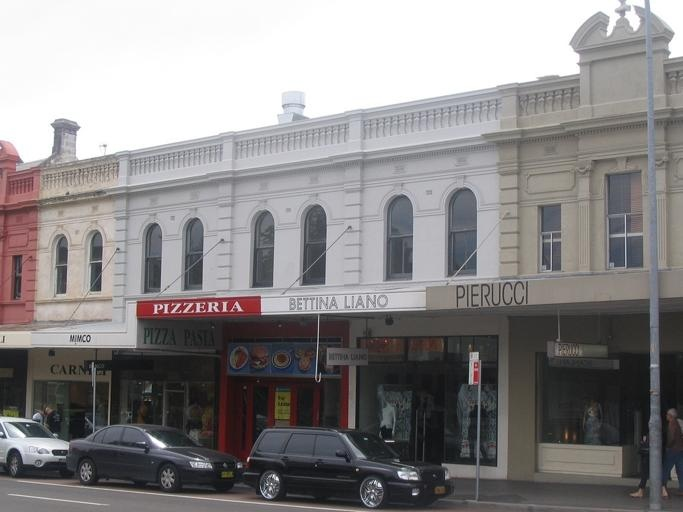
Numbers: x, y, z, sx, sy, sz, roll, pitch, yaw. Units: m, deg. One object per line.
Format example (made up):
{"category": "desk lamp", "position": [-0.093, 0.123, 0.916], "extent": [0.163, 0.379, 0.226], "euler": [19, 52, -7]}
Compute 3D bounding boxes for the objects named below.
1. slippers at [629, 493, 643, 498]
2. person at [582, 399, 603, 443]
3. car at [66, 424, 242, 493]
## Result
{"category": "slippers", "position": [7.605, 6.152, 32.017], "extent": [0.305, 0.133, 0.104], "euler": [9, 1, 32]}
{"category": "person", "position": [7.092, 4.671, 35.047], "extent": [0.508, 1.148, 0.506], "euler": [-1, 3, 11]}
{"category": "car", "position": [-5.085, 5.521, 33.763], "extent": [4.122, 1.411, 2.028], "euler": [-6, -12, 32]}
